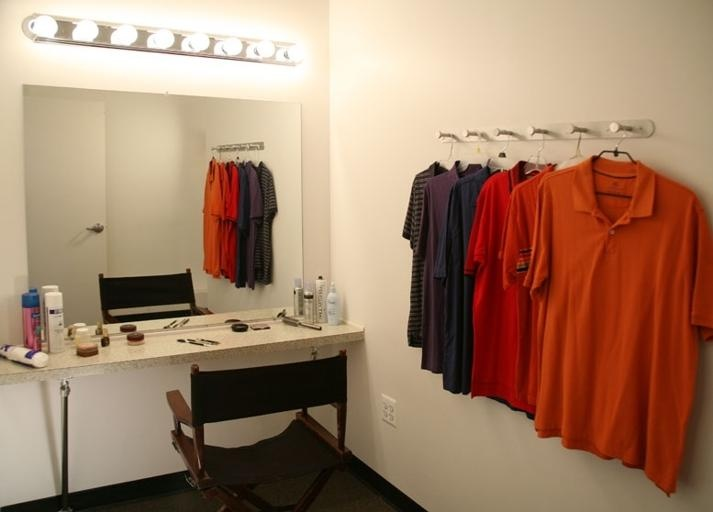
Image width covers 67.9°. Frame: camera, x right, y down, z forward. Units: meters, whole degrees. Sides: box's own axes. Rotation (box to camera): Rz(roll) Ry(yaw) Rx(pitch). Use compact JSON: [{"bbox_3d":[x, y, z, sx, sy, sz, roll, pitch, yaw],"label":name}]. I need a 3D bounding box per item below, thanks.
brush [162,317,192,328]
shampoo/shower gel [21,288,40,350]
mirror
[{"bbox_3d":[-0.962,0.359,2.855,0.143,0.047,0.056,-19,3,-30],"label":"brush"},{"bbox_3d":[-1.503,0.303,2.457,0.076,0.251,0.091,-7,14,-31],"label":"shampoo/shower gel"},{"bbox_3d":[-1.070,-0.231,2.756,1.238,1.180,0.104,-3,9,-23],"label":"mirror"}]
